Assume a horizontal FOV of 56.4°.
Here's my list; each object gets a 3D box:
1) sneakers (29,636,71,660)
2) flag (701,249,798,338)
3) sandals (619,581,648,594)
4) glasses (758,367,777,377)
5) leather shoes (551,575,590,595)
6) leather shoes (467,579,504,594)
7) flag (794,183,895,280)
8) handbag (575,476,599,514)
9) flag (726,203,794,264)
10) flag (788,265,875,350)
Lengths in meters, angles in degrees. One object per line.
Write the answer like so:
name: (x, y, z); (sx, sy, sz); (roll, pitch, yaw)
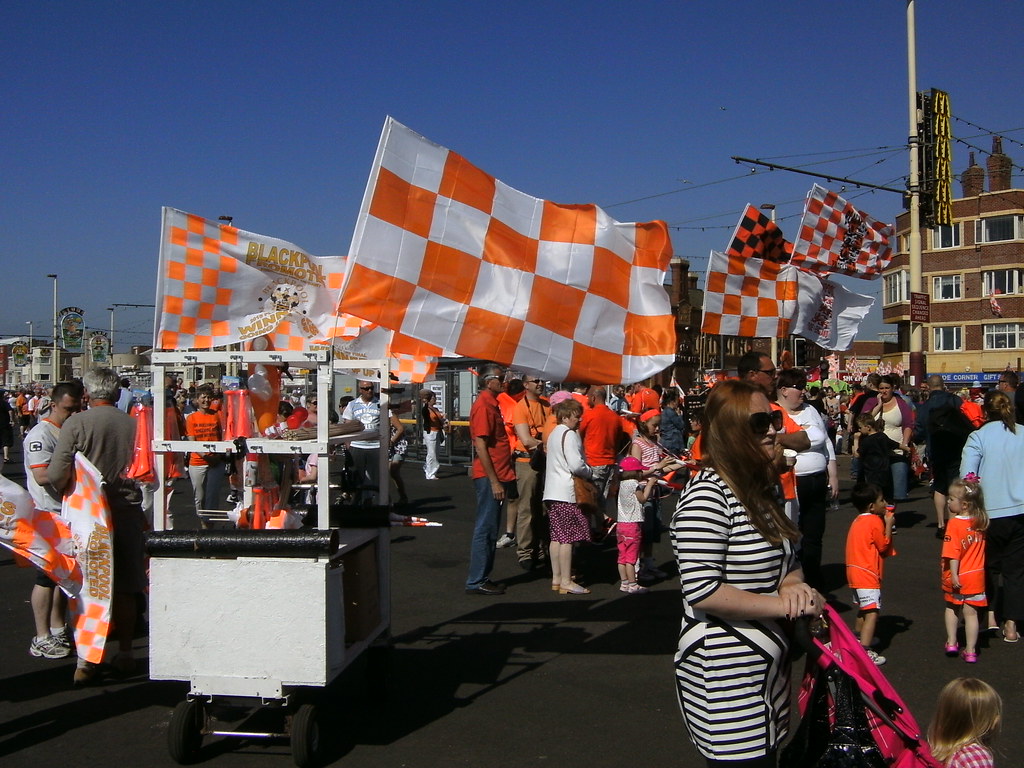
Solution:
sneakers: (-3.651, 2.095, 7.589); (0.318, 0.160, 0.141); (3, 13, -7)
flag: (2.534, -0.901, 9.931); (1.219, 0.798, 0.147); (3, 3, -23)
sandals: (1.204, 2.066, 9.626); (0.253, 0.111, 0.104); (-1, 3, 6)
glasses: (2.194, -0.104, 8.180); (0.107, 0.033, 0.105); (7, -5, 30)
leather shoes: (0.572, 2.038, 9.562); (0.417, 0.194, 0.145); (-2, -5, 1)
leather shoes: (-0.265, 2.019, 9.478); (0.363, 0.157, 0.138); (-2, -3, 5)
flag: (3.928, -1.705, 11.339); (1.542, 0.989, 0.202); (4, 24, -29)
handbag: (0.729, 1.121, 9.539); (0.320, 0.347, 0.107); (14, -29, -43)
flag: (2.592, -1.538, 10.049); (0.082, 0.807, 0.735); (33, -9, -22)
flag: (3.644, -0.808, 11.014); (0.086, 0.809, 1.120); (-9, 21, -30)
